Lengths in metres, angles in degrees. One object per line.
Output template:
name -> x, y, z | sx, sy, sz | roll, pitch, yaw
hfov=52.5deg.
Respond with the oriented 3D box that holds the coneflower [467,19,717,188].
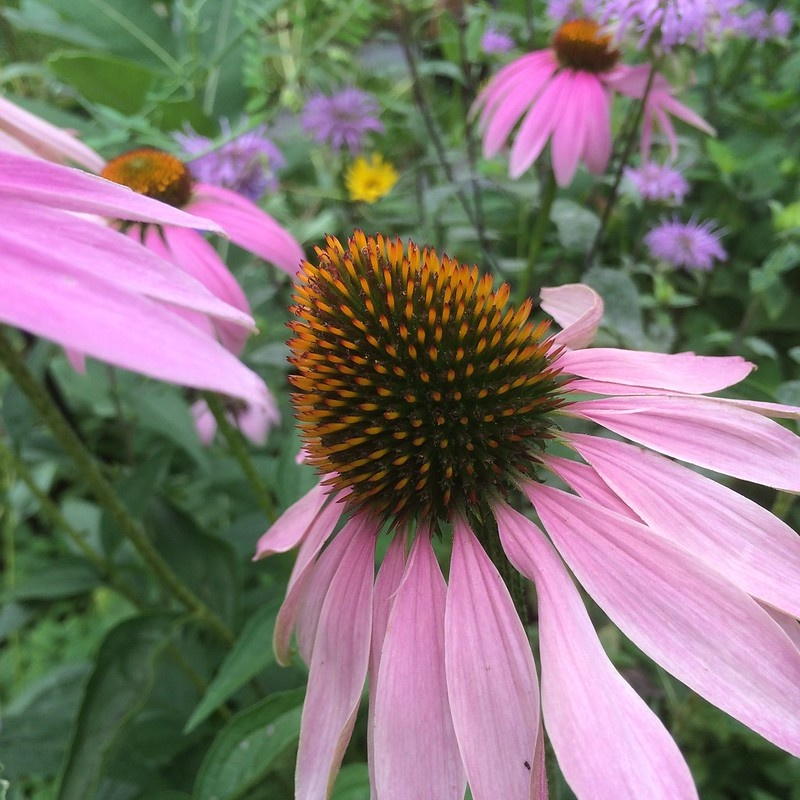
coneflower -> 0.219, -0.348, 0.930 | 0.223, 0.105, 0.210 | -27, 42, -16
